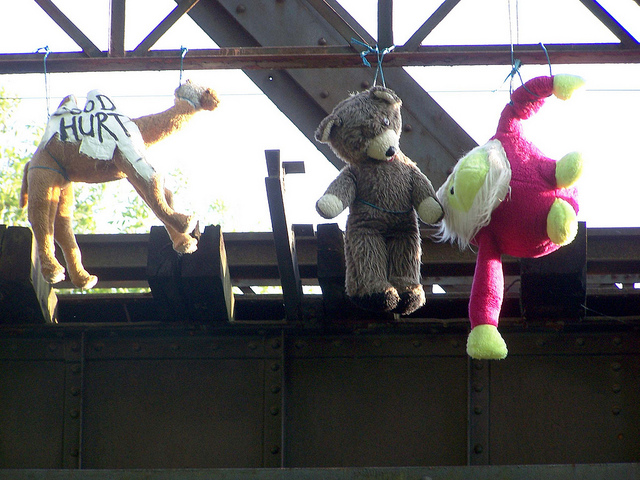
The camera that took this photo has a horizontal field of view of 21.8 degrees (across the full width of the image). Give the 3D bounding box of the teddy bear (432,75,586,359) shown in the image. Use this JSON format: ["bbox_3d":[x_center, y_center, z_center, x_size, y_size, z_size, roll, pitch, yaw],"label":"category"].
[{"bbox_3d":[1.176,-0.146,10.609,0.947,1.953,0.744,4,-23,12],"label":"teddy bear"}]

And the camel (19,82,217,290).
[{"bbox_3d":[-1.355,-0.392,11.065,1.500,1.341,0.510,-11,-13,6],"label":"camel"}]

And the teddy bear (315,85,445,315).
[{"bbox_3d":[0.380,-0.259,10.663,0.802,1.468,0.380,-4,-4,3],"label":"teddy bear"}]
